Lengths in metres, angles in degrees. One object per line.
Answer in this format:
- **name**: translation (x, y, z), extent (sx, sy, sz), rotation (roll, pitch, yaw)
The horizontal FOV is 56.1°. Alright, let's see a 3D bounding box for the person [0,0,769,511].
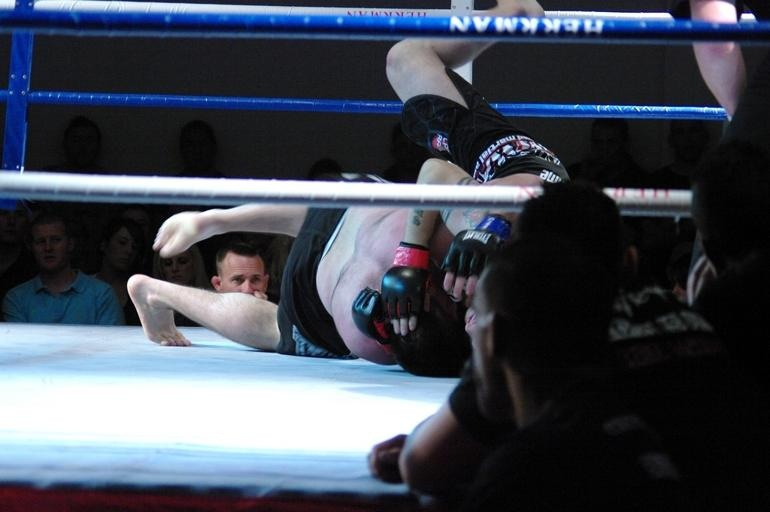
- **person**: translation (-0.081, -0.029, 1.943), extent (2.287, 1.317, 0.505), rotation (2, 19, 5)

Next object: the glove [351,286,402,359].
- **glove**: translation (-0.028, 0.157, 1.828), extent (0.118, 0.160, 0.060), rotation (-43, 17, -12)

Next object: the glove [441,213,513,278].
- **glove**: translation (0.212, -0.006, 1.643), extent (0.110, 0.049, 0.161), rotation (21, 65, 35)

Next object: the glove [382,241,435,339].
- **glove**: translation (0.054, 0.080, 1.753), extent (0.165, 0.198, 0.100), rotation (15, -3, 42)
